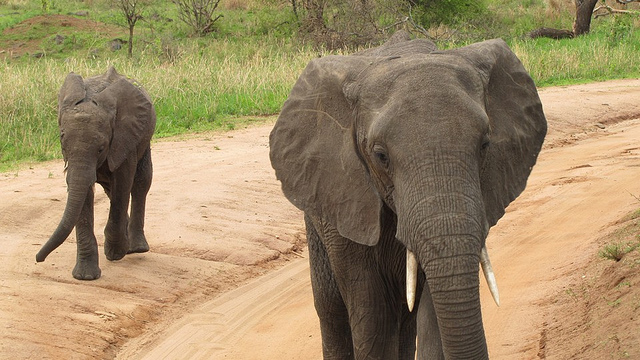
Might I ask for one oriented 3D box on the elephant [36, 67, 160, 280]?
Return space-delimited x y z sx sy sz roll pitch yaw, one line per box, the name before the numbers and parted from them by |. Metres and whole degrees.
elephant | -3.753 -0.104 12.091 1.851 3.382 3.804 1 7 -1
